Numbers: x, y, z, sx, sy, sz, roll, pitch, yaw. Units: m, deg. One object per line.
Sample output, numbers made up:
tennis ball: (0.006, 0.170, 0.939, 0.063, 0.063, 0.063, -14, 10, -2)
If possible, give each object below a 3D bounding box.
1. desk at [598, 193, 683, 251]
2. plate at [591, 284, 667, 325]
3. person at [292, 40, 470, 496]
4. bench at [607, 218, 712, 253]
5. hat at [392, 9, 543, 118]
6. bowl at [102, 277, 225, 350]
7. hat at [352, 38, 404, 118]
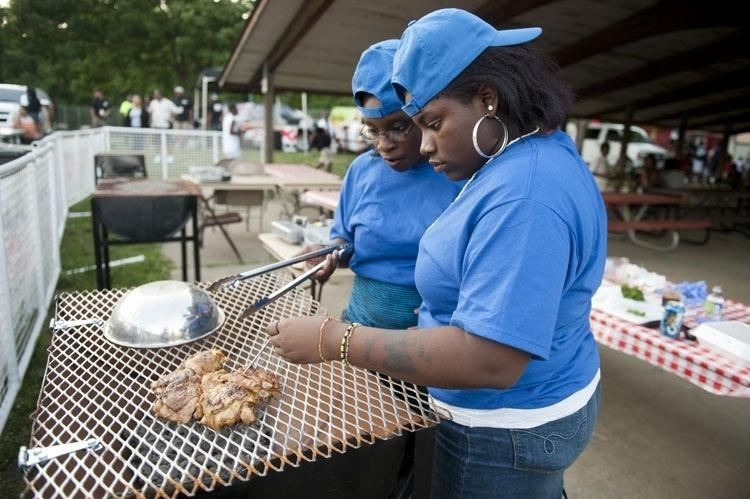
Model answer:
desk: (5.216, -0.519, 11.169, 1.747, 0.657, 1.332, 8, 55, 3)
plate: (2.411, 0.555, 5.544, 0.509, 0.108, 0.544, -16, 27, -10)
person: (0.007, 0.091, 4.622, 1.224, 3.179, 1.057, 1, 14, -1)
bench: (5.175, -0.373, 10.579, 1.583, 0.397, 0.959, -2, 11, 2)
hat: (0.507, -1.185, 3.496, 0.796, 0.431, 0.475, -31, 24, 9)
bowl: (-1.427, 0.456, 3.908, 0.795, 0.431, 0.294, 0, 13, -14)
hat: (0.050, -1.189, 4.029, 0.333, 0.525, 0.311, 10, -13, 37)
